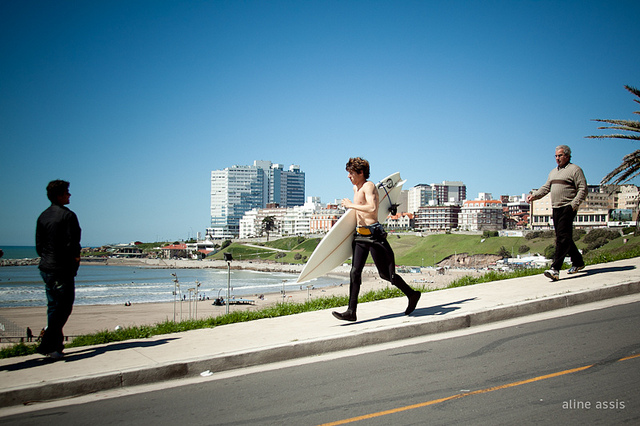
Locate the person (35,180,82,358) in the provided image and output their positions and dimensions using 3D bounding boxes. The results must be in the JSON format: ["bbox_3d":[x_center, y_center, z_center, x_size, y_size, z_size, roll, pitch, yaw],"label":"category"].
[{"bbox_3d":[-4.459,1.131,8.967,0.688,2.564,0.376,0,-8,-21],"label":"person"}]

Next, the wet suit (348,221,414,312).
[{"bbox_3d":[1.053,0.808,10.197,0.912,2.080,0.815,0,-2,-10],"label":"wet suit"}]

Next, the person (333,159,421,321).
[{"bbox_3d":[0.961,0.466,10.282,1.530,3.181,0.838,-3,-7,-4],"label":"person"}]
